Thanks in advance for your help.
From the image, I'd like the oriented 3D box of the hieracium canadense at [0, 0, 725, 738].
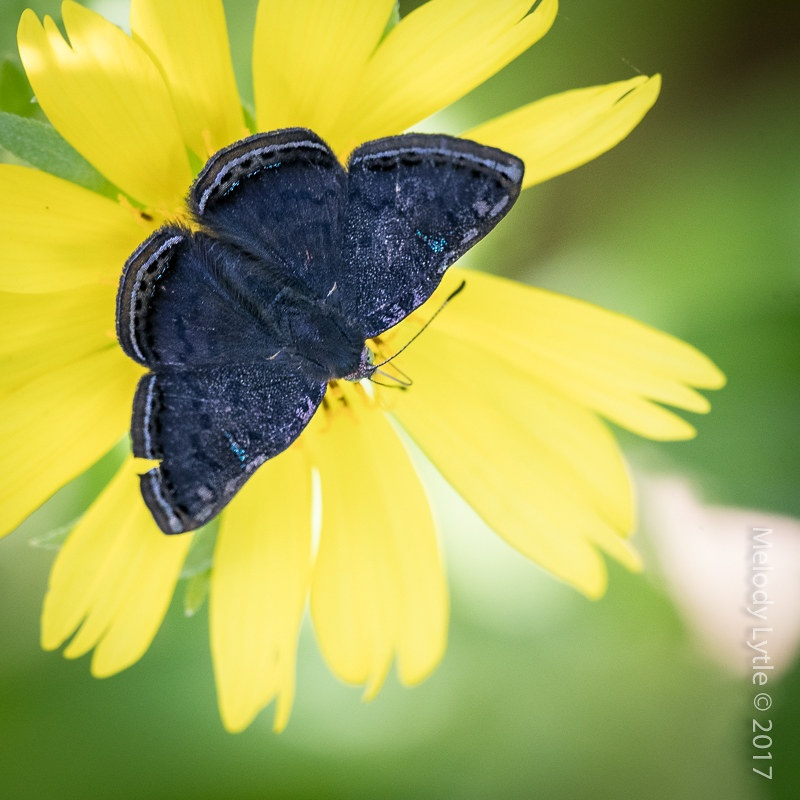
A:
[{"bbox_3d":[-0.044,-0.037,0.849,0.643,0.205,0.665,9,-73,-5],"label":"hieracium canadense"}]
